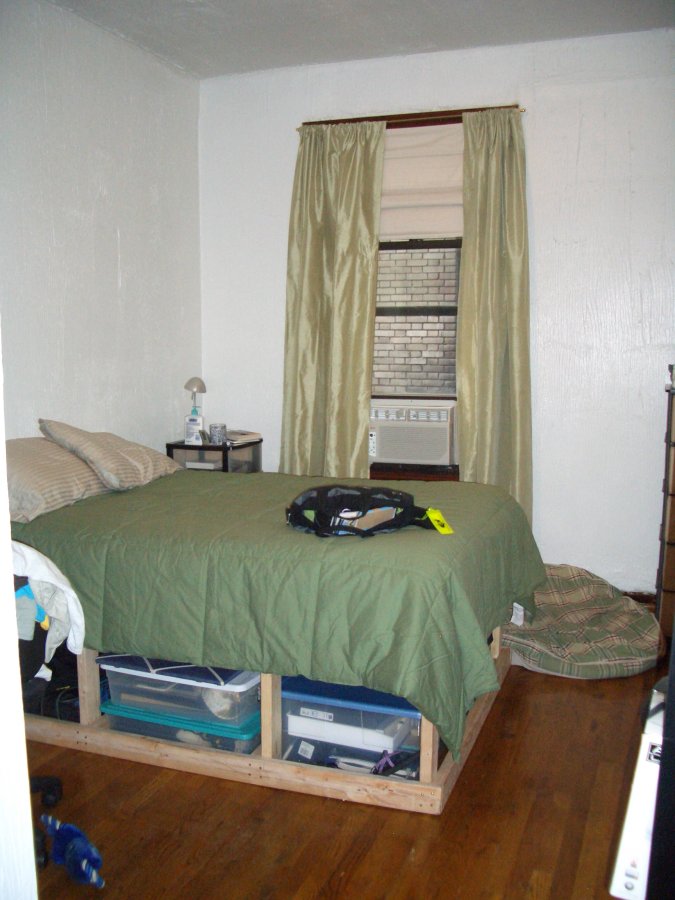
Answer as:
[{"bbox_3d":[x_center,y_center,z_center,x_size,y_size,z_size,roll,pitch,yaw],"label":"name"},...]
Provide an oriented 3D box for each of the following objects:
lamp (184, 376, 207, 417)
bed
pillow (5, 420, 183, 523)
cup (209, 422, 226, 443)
[{"bbox_3d":[-0.831,-0.311,4.245,0.125,0.234,0.429,0,7,-10],"label":"lamp"},{"bbox_3d":[-0.167,0.533,2.291,1.399,0.701,0.976,5,8,21],"label":"bed"},{"bbox_3d":[-0.904,0.060,2.552,0.349,0.147,0.408,26,22,27],"label":"pillow"},{"bbox_3d":[-0.654,-0.090,3.999,0.097,0.102,0.102,2,7,0],"label":"cup"}]
